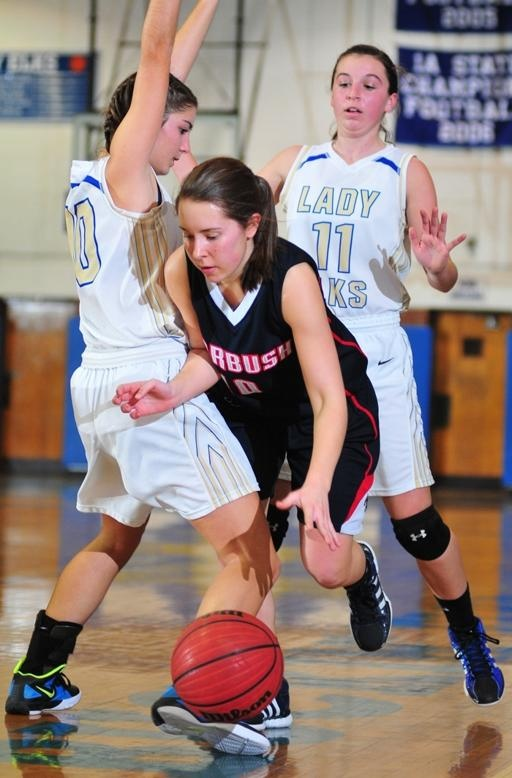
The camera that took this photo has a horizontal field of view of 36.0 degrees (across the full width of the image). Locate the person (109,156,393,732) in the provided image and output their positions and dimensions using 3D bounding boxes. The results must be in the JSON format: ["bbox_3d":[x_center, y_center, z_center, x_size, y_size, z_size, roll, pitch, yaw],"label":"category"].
[{"bbox_3d":[0.021,0.176,1.658,0.507,1.275,0.838,2,14,10],"label":"person"}]

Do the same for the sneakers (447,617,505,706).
[{"bbox_3d":[0.545,0.711,2.031,0.100,0.092,0.234,-21,30,10],"label":"sneakers"}]

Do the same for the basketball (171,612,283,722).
[{"bbox_3d":[-0.049,0.493,1.379,0.190,0.180,0.148,-1,13,-2],"label":"basketball"}]

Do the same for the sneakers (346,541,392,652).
[{"bbox_3d":[0.312,0.580,2.151,0.120,0.318,0.136,-11,-5,21],"label":"sneakers"}]
